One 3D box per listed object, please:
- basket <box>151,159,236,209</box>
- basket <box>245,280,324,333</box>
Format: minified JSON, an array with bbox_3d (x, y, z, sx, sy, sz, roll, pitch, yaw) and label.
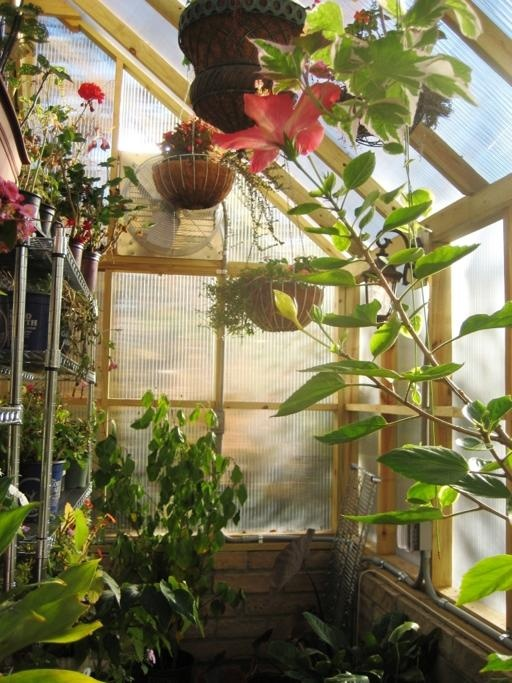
[{"bbox_3d":[-0.234,-0.583,2.424,0.339,0.140,0.340,0,-3,19],"label":"basket"},{"bbox_3d":[0.102,-0.115,2.448,0.247,0.144,0.234,0,-22,4],"label":"basket"}]
